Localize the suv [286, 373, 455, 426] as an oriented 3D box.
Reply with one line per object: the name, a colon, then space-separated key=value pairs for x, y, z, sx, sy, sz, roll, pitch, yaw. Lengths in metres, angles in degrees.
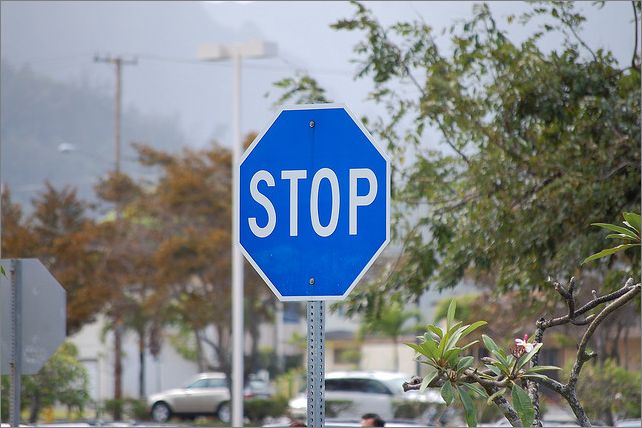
suv: x=1.151 y=3.152 z=33.635 sx=2.584 sy=1.149 sz=1.327 roll=-4 pitch=-5 yaw=15
